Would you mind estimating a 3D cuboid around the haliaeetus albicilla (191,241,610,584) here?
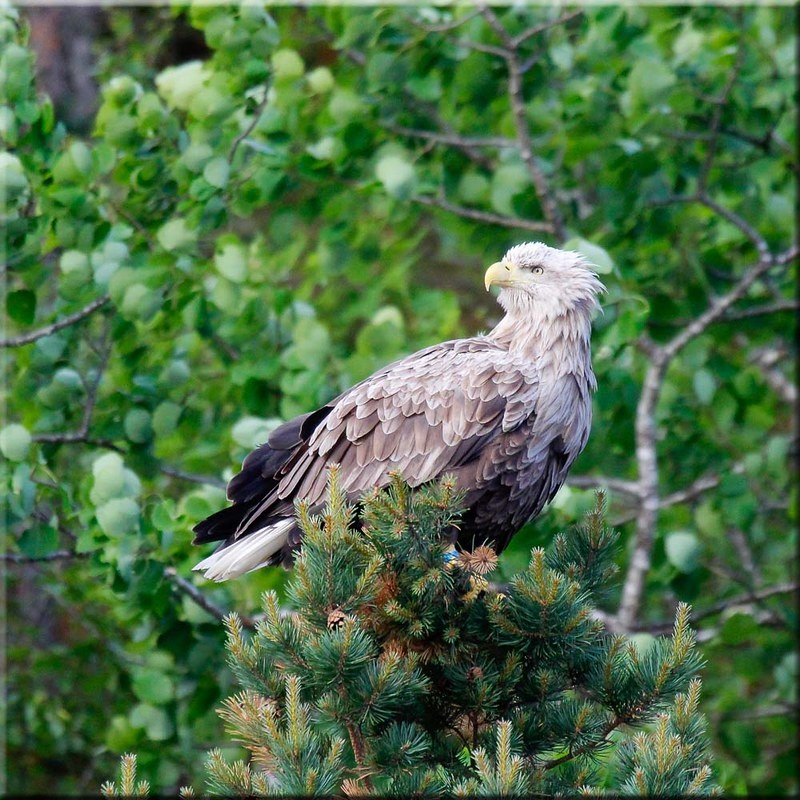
[{"bbox_3d":[-0.012,0.138,7.271,1.747,1.245,0.831,-10,-12,-5],"label":"haliaeetus albicilla"}]
